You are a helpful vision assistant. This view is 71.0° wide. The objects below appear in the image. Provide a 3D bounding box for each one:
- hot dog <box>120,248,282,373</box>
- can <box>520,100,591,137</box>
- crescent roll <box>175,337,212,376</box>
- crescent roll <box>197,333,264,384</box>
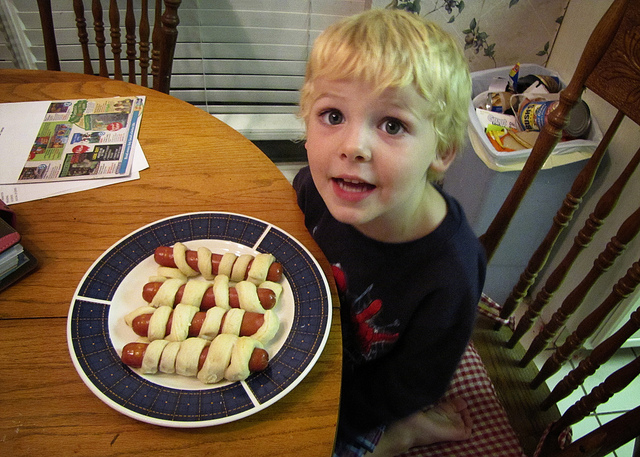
[{"bbox_3d":[-0.231,0.160,0.928,0.290,0.103,0.261,7,40,-2],"label":"hot dog"},{"bbox_3d":[0.855,-0.407,1.639,0.234,0.134,0.118,21,41,15],"label":"can"},{"bbox_3d":[-0.238,0.245,0.903,0.082,0.099,0.065,-3,82,6],"label":"crescent roll"},{"bbox_3d":[-0.177,0.246,0.852,0.126,0.048,0.075,-2,75,12],"label":"crescent roll"}]
